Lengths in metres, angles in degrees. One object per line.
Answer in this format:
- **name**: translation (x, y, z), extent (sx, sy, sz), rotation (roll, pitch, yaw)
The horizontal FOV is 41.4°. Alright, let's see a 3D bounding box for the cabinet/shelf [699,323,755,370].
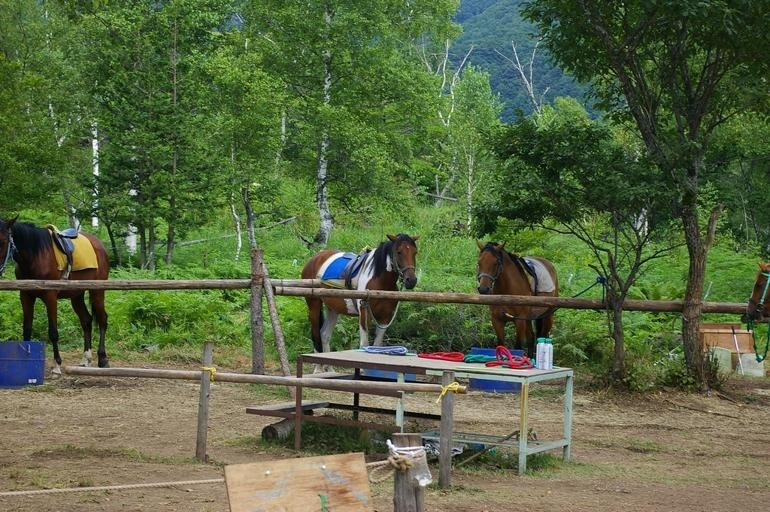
- **cabinet/shelf**: translation (9.395, 2.675, 28.270), extent (1.639, 1.464, 1.511), rotation (2, 3, 20)

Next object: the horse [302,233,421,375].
- **horse**: translation (-0.722, 1.184, 26.019), extent (1.408, 3.297, 5.053), rotation (6, -6, -33)

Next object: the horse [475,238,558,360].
- **horse**: translation (3.377, 1.105, 25.892), extent (1.283, 2.961, 2.997), rotation (-2, -2, 31)
